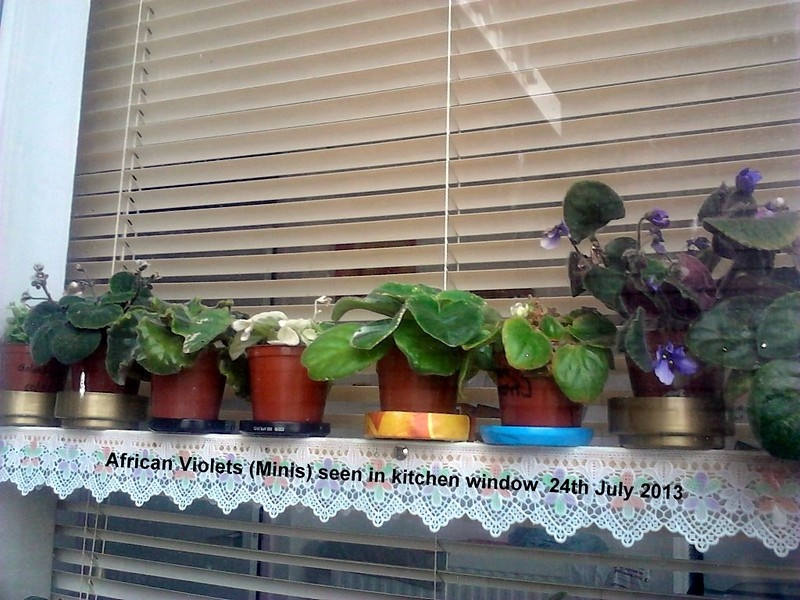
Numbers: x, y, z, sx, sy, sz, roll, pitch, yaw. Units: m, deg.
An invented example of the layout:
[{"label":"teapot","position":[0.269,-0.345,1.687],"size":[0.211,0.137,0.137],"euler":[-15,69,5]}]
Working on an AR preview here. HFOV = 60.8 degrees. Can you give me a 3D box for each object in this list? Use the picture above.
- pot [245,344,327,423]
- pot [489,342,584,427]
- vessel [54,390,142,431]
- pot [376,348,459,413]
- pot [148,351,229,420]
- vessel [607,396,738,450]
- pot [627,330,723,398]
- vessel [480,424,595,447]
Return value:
[{"label":"pot","position":[-0.278,0.193,1.628],"size":[0.201,0.125,0.191],"euler":[0,-13,0]},{"label":"pot","position":[0.282,0.196,1.503],"size":[0.200,0.112,0.165],"euler":[-3,-6,41]},{"label":"vessel","position":[-0.751,0.262,1.700],"size":[0.141,0.046,0.137],"euler":[-5,-13,39]},{"label":"pot","position":[0.052,0.182,1.530],"size":[0.200,0.115,0.167],"euler":[-1,-9,0]},{"label":"pot","position":[-0.506,0.203,1.629],"size":[0.203,0.117,0.178],"euler":[-7,-14,31]},{"label":"vessel","position":[0.547,0.247,1.425],"size":[0.214,0.067,0.193],"euler":[-2,-13,24]},{"label":"pot","position":[0.548,0.127,1.349],"size":[0.171,0.099,0.150],"euler":[-7,-12,37]},{"label":"vessel","position":[0.285,0.281,1.422],"size":[0.230,0.041,0.052],"euler":[-1,-8,5]}]
